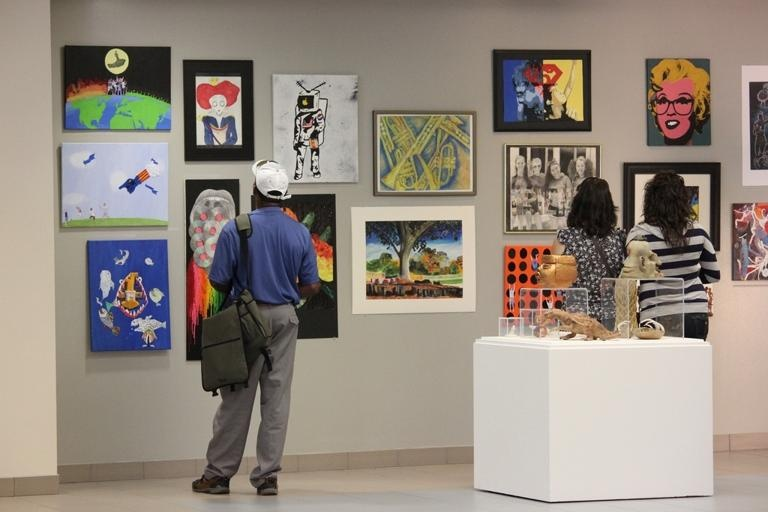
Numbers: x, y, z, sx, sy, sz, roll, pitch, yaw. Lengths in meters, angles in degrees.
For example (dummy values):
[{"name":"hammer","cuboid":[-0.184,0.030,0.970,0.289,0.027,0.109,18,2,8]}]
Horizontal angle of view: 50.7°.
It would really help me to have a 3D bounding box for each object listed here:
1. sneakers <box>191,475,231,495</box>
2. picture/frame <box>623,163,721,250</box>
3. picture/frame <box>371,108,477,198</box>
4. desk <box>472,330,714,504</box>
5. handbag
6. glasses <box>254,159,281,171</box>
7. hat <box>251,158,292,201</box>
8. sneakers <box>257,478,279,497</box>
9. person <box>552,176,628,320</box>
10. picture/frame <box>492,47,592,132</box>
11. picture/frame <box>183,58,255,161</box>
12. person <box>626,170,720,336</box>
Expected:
[{"name":"sneakers","cuboid":[-1.295,1.717,6.140,0.300,0.150,0.119,4,0,29]},{"name":"picture/frame","cuboid":[2.325,-0.434,6.640,0.762,0.681,0.059,0,-2,-9]},{"name":"picture/frame","cuboid":[0.301,-0.906,6.999,0.763,0.600,0.030,0,2,-3]},{"name":"desk","cuboid":[1.469,1.218,6.000,1.464,1.048,1.129,5,-9,-19]},{"name":"handbag","cuboid":[-1.090,0.337,5.958,0.498,1.277,0.193,-1,-2,-4]},{"name":"glasses","cuboid":[-0.914,-0.702,6.154,0.157,0.100,0.211,0,-1,-28]},{"name":"hat","cuboid":[-0.852,-0.613,6.059,0.223,0.344,0.143,4,-43,-21]},{"name":"sneakers","cuboid":[-0.872,1.693,5.997,0.164,0.140,0.124,-1,-2,-3]},{"name":"person","cuboid":[1.547,-0.063,6.133,0.538,1.084,0.353,1,-3,-40]},{"name":"picture/frame","cuboid":[1.339,-1.468,7.107,0.726,0.615,0.057,0,3,-1]},{"name":"picture/frame","cuboid":[-1.422,-1.228,6.796,0.845,1.173,0.041,0,4,-4]},{"name":"person","cuboid":[2.179,-0.006,6.156,0.563,1.298,1.074,-3,-2,30]}]
